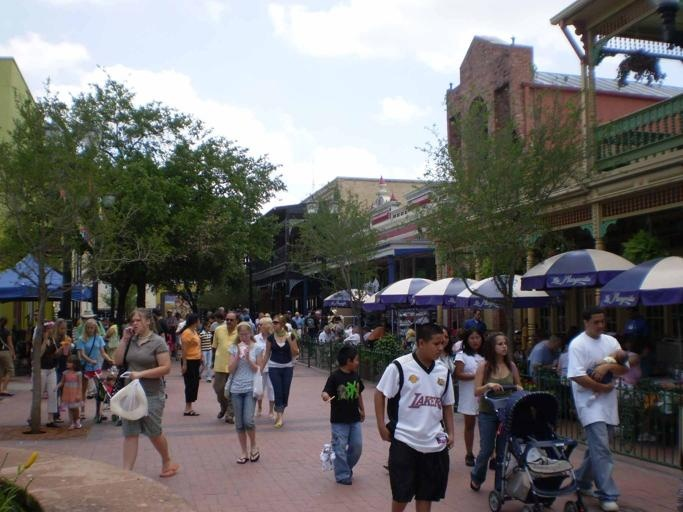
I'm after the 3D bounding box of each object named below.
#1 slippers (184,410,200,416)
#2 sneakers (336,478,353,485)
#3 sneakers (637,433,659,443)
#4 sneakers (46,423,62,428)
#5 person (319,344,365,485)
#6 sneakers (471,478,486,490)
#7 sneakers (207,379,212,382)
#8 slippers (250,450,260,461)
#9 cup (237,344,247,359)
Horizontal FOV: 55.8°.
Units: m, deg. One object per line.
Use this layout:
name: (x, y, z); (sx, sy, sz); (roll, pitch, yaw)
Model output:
slippers: (-3.288, 3.426, 13.986); (0.241, 0.094, 0.149); (-3, -3, 8)
sneakers: (0.052, 3.097, 8.819); (0.071, 0.096, 0.217); (5, -19, -27)
sneakers: (4.786, 2.845, 10.050); (0.258, 0.118, 0.266); (0, -7, -15)
sneakers: (-5.774, 3.384, 12.852); (0.298, 0.120, 0.104); (1, 0, -8)
person: (0.035, 2.218, 9.045); (0.560, 1.855, 0.389); (0, -4, -9)
sneakers: (1.818, 3.037, 8.545); (0.096, 0.179, 0.170); (0, -7, -2)
sneakers: (-4.154, 3.923, 20.171); (0.091, 0.088, 0.261); (17, -14, -12)
slippers: (-1.350, 3.082, 9.925); (0.155, 0.096, 0.388); (0, -2, -5)
cup: (-1.567, 1.497, 10.106); (0.119, 0.198, 0.073); (5, -14, -9)
